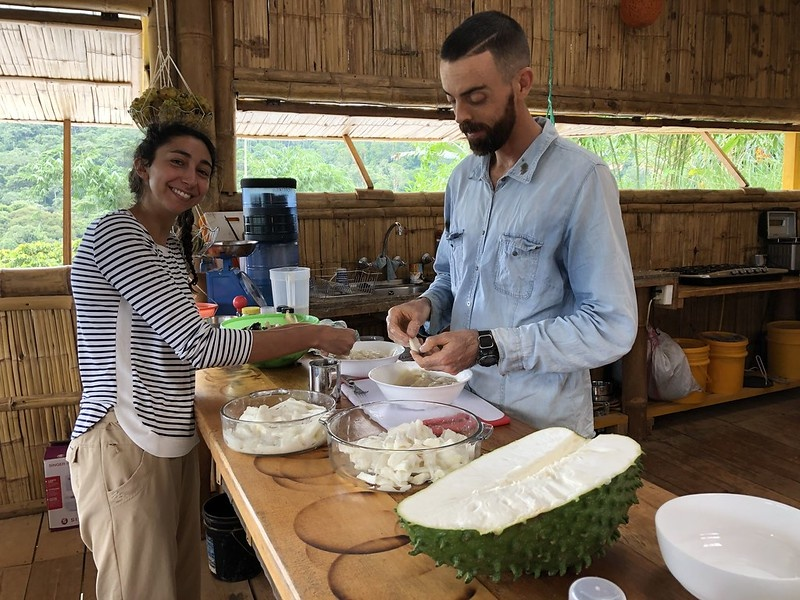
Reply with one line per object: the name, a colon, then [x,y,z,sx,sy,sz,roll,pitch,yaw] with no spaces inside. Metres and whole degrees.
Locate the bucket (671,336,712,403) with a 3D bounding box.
bucket: [2.459,0.610,4.564,0.249,0.473,0.547,2,11,29]

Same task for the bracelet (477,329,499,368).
bracelet: [0.257,0.143,1.591,0.065,0.104,0.038,-3,10,1]

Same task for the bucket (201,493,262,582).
bucket: [-0.842,1.266,2.823,0.340,0.315,0.305,-3,0,9]

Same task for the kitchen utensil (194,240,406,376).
kitchen utensil: [-0.630,0.014,2.874,0.787,0.351,0.630,-5,11,-29]

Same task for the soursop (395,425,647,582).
soursop: [0.230,0.391,0.987,0.450,0.215,0.242,-9,11,-32]

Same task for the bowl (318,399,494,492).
bowl: [0.019,0.324,1.213,0.248,0.091,0.217,2,1,-31]

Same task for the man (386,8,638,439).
man: [0.330,-0.207,1.714,0.764,1.374,0.651,3,12,32]

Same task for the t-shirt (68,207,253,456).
t-shirt: [-0.762,0.144,2.054,0.683,0.968,0.986,0,3,-18]
